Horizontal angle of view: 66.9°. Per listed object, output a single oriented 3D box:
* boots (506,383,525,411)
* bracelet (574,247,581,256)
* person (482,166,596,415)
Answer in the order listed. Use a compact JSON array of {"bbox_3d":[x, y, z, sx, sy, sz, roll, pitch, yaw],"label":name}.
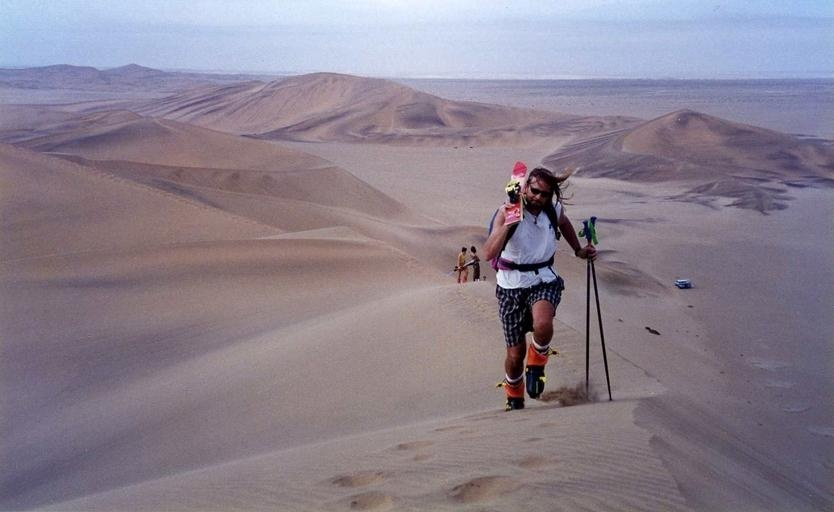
[{"bbox_3d":[1.363,1.976,8.850,0.254,0.403,0.422,-1,12,2],"label":"boots"},{"bbox_3d":[2.206,-0.064,8.629,0.109,0.094,0.081,15,-22,-32],"label":"bracelet"},{"bbox_3d":[1.486,0.476,8.461,1.297,3.447,0.755,-2,12,-10],"label":"person"}]
